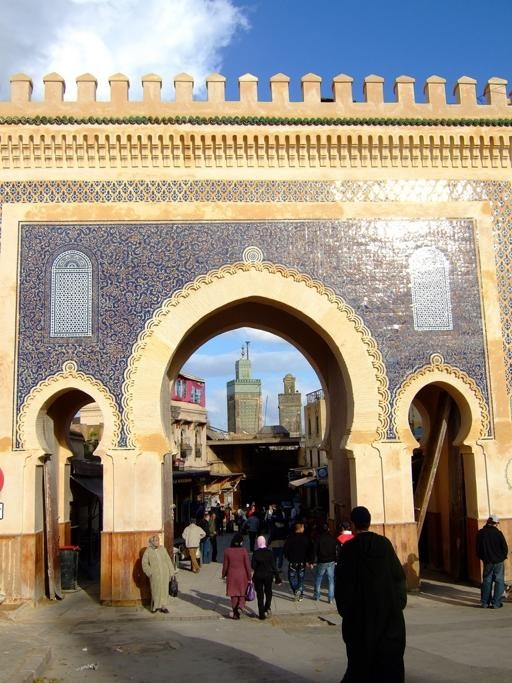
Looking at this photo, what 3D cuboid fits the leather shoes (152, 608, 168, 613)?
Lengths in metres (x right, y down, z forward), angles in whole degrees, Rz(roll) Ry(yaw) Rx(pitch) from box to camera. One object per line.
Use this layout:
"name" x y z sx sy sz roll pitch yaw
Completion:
"leather shoes" -1.048 2.963 7.850 0.187 0.074 0.061 -1 -5 -2

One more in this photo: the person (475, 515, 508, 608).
"person" 2.538 2.376 7.666 0.303 0.939 0.519 -4 -12 15

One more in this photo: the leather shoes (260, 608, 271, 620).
"leather shoes" 0.092 2.895 7.582 0.110 0.077 0.269 -3 -11 7

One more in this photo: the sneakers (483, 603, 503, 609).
"sneakers" 2.516 2.826 7.597 0.215 0.087 0.072 -5 -11 11

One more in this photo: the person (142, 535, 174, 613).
"person" -1.099 2.587 7.957 0.291 0.826 0.371 -2 -12 3
